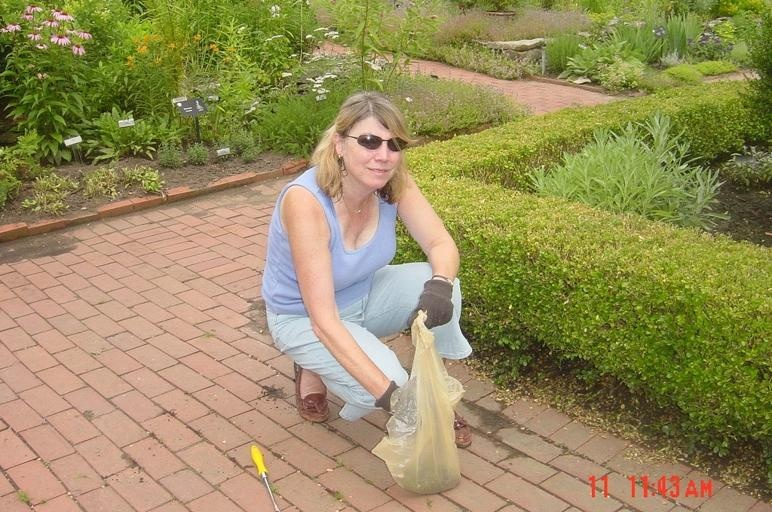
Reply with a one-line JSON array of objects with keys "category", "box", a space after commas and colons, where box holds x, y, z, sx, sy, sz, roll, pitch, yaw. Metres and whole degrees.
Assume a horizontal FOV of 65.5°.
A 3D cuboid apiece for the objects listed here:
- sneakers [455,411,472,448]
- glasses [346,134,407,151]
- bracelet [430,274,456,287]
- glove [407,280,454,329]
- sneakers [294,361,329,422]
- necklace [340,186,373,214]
[{"category": "sneakers", "box": [0.500, 1.166, 3.997, 0.110, 0.088, 0.248, -3, 17, -10]}, {"category": "glasses", "box": [-0.025, -0.696, 3.688, 0.380, 0.115, 0.124, -7, 25, -14]}, {"category": "bracelet", "box": [0.378, 0.150, 3.873, 0.116, 0.036, 0.095, 20, 4, 14]}, {"category": "glove", "box": [0.345, 0.279, 3.789, 0.258, 0.136, 0.343, 21, 58, 43]}, {"category": "sneakers", "box": [-0.545, 0.950, 4.225, 0.186, 0.429, 0.131, -17, -4, -19]}, {"category": "necklace", "box": [-0.189, -0.343, 3.774, 0.152, 0.168, 0.129, 3, 47, -7]}]
